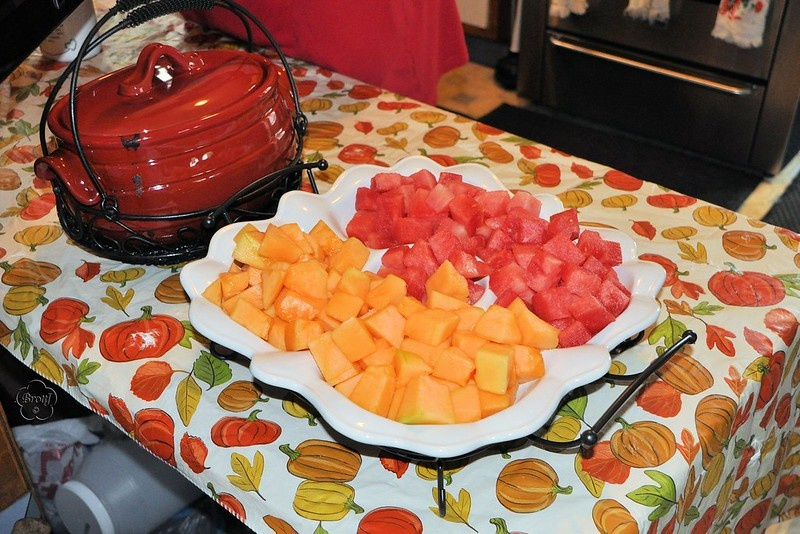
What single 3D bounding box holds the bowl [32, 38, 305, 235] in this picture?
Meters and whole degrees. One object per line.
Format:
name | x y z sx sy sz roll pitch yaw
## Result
bowl | -0.367 -0.233 0.977 0.387 0.217 0.317 -31 40 -28
